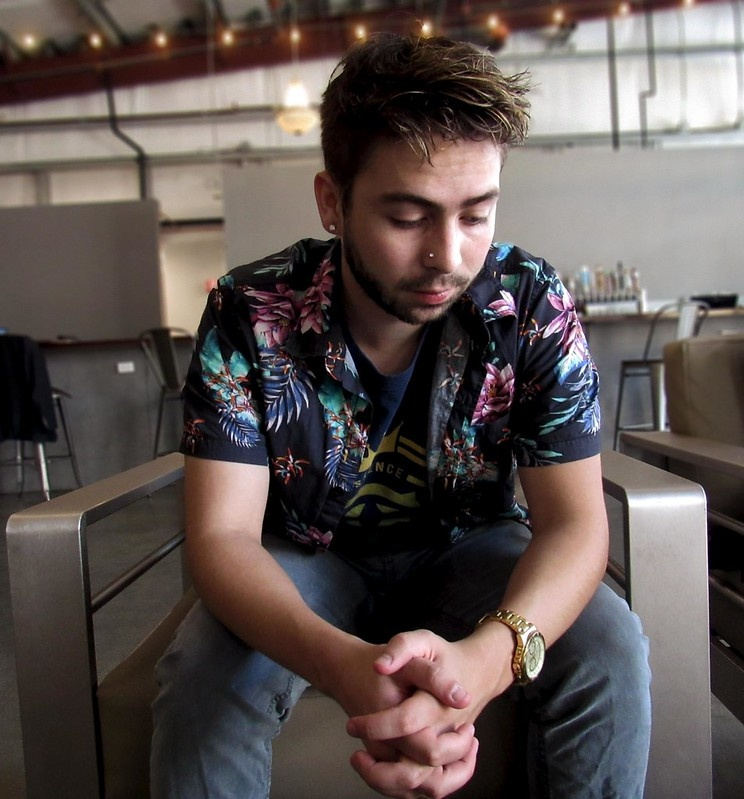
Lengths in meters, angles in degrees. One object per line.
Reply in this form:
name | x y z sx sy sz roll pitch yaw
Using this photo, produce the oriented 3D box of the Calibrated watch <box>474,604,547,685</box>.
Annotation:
Calibrated watch | 0.163 0.306 0.885 0.086 0.083 0.058 4 7 33
